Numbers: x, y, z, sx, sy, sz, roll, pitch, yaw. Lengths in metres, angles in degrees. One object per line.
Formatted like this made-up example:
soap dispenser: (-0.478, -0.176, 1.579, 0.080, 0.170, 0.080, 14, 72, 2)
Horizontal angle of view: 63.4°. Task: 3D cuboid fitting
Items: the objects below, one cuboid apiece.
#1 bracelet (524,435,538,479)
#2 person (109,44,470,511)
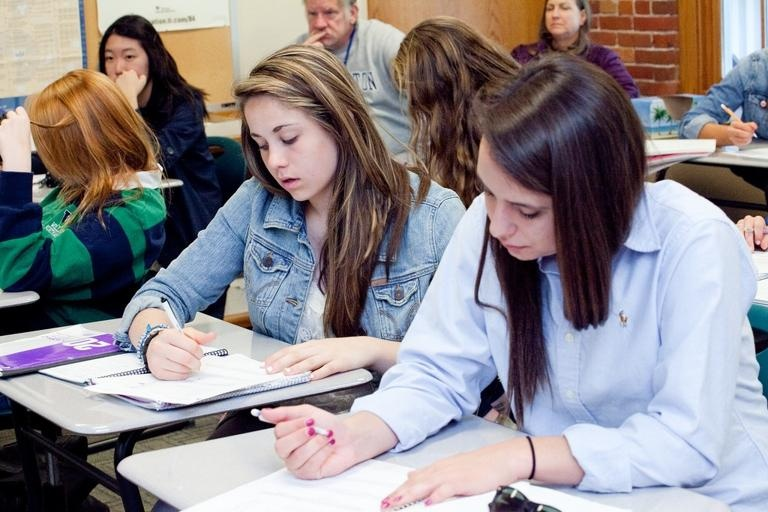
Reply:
bracelet: (0.247, 0.341, 1.038, 0.015, 0.058, 0.043, -1, 16, 13)
person: (-0.400, -0.037, 2.184, 0.976, 1.664, 0.961, -2, 8, -37)
